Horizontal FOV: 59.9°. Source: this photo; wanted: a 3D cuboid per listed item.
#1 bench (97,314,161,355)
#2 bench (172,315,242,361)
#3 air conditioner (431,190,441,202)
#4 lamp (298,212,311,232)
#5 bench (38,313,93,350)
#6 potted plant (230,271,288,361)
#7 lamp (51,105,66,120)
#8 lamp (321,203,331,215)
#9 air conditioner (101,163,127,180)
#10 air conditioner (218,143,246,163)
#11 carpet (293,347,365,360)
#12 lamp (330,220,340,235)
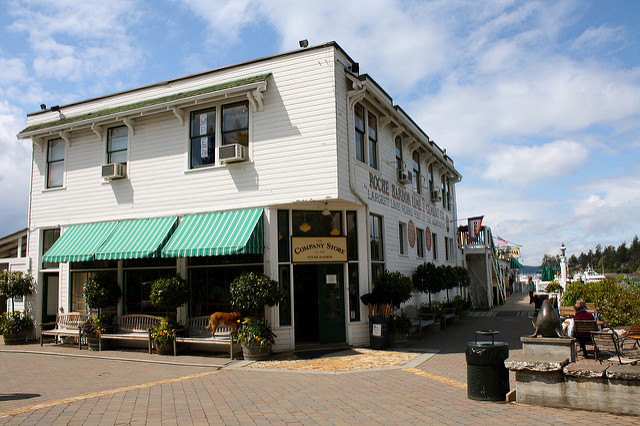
[{"bbox_3d":[-7.356,4.651,21.581,2.324,1.351,0.879,-2,-5,16],"label":"bench"},{"bbox_3d":[-4.147,4.515,20.395,2.360,1.368,0.927,-3,-4,20],"label":"bench"},{"bbox_3d":[6.487,-0.938,31.029,0.374,0.733,1.509,-1,1,19],"label":"air conditioner"},{"bbox_3d":[-0.606,0.336,21.264,0.488,0.789,0.164,-1,2,-5],"label":"lamp"},{"bbox_3d":[-10.344,4.728,22.526,2.020,1.240,0.881,-3,-1,23],"label":"bench"},{"bbox_3d":[-2.306,3.639,19.964,1.732,2.995,1.304,-1,2,1],"label":"potted plant"},{"bbox_3d":[-11.901,-4.491,25.110,0.979,0.600,0.324,0,2,36],"label":"lamp"},{"bbox_3d":[0.201,-0.151,21.309,0.328,0.531,0.472,-1,1,5],"label":"lamp"},{"bbox_3d":[-8.623,-1.718,23.105,0.969,0.666,0.661,-2,-2,26],"label":"air conditioner"},{"bbox_3d":[-3.474,-2.267,21.213,1.214,0.628,0.762,-1,-5,30],"label":"air conditioner"},{"bbox_3d":[0.172,5.067,20.121,2.265,0.072,1.232,-1,1,-15],"label":"carpet"},{"bbox_3d":[0.567,0.572,21.512,0.453,0.581,0.151,-2,2,-31],"label":"lamp"}]
